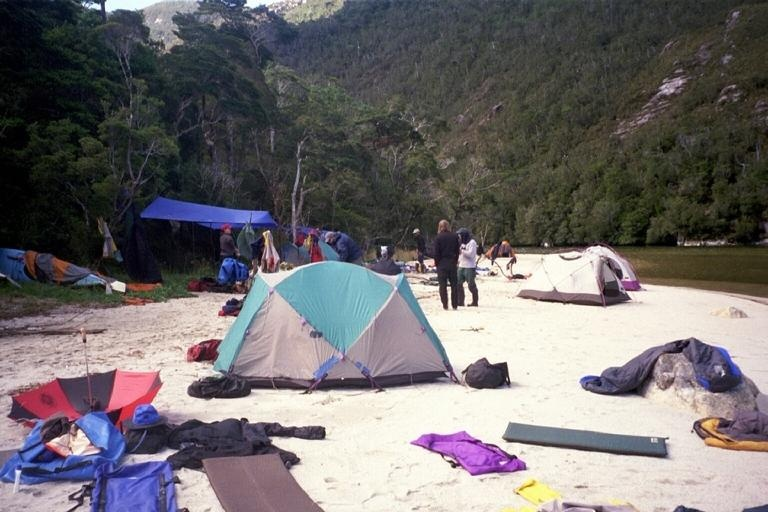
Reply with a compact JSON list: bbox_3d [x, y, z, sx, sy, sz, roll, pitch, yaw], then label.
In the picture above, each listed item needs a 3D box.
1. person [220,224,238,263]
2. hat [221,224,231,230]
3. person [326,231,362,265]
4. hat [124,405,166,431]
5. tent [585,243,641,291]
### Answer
[{"bbox_3d":[-6.359,-0.566,26.079,0.806,1.425,0.816,-5,4,-37],"label":"person"},{"bbox_3d":[-6.404,-1.152,25.785,0.229,0.224,0.535,-3,3,1],"label":"hat"},{"bbox_3d":[-1.503,-0.292,24.971,0.992,1.248,1.642,-3,3,-1],"label":"person"},{"bbox_3d":[-5.774,3.910,15.285,0.663,0.299,0.638,-2,7,7],"label":"hat"},{"bbox_3d":[9.883,0.562,26.895,2.114,1.213,2.266,-6,10,-8],"label":"tent"}]
